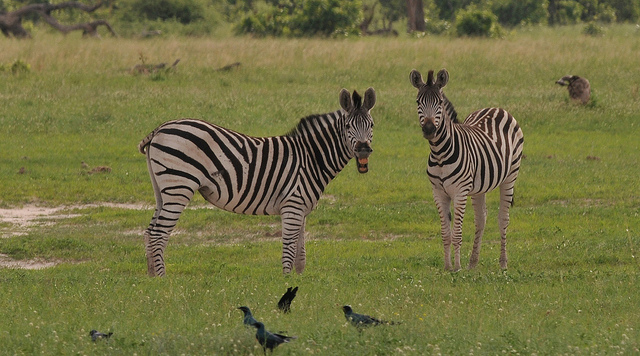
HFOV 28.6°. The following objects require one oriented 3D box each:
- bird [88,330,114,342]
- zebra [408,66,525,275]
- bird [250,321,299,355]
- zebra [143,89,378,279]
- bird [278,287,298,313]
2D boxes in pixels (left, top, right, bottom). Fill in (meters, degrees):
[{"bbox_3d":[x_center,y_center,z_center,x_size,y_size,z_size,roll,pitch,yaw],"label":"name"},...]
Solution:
[{"bbox_3d":[-7.837,5.655,44.509,1.025,0.458,0.291,8,0,5],"label":"bird"},{"bbox_3d":[5.860,-0.403,48.024,3.692,7.546,2.133,-7,17,-20],"label":"zebra"},{"bbox_3d":[-1.622,5.689,44.376,1.586,1.049,0.679,-2,16,-2],"label":"bird"},{"bbox_3d":[-2.234,0.557,49.014,8.423,6.153,2.426,1,-4,0],"label":"zebra"},{"bbox_3d":[-1.094,4.481,45.447,0.247,0.889,0.443,25,10,1],"label":"bird"}]
